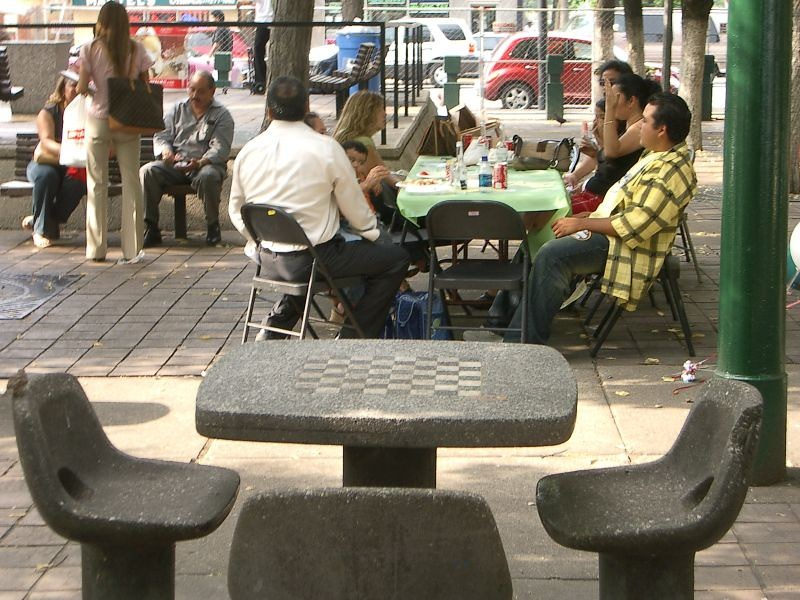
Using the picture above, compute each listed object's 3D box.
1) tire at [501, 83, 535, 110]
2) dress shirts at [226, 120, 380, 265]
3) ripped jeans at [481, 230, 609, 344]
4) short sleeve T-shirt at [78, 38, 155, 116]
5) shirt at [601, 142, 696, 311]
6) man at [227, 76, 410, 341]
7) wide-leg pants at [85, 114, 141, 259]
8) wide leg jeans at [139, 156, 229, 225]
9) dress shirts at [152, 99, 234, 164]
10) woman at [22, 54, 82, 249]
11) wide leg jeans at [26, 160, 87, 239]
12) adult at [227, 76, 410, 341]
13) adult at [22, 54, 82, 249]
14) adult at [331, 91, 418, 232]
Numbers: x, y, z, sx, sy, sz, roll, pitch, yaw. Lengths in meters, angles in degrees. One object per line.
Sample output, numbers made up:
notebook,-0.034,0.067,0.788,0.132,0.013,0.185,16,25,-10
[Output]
tire,3.157,-5.456,22.861,0.807,0.757,0.284,-3,7,3
dress shirts,-0.632,-0.764,5.592,0.981,0.795,0.440,-2,15,-8
ripped jeans,1.051,-0.140,6.010,0.841,0.940,0.643,3,12,-6
short sleeve T-shirt,-2.775,-2.136,8.288,0.782,0.786,0.485,-3,11,-18
shirt,1.656,-0.501,5.768,0.616,1.074,0.487,4,15,13
man,-0.514,-0.573,6.071,1.299,1.840,1.217,-2,14,-6
wide-leg pants,-2.917,-1.233,8.656,0.564,1.647,0.366,-4,-11,-16
wide leg jeans,-2.360,-1.251,9.184,0.934,0.607,0.643,1,6,-1
dress shirts,-2.244,-1.841,9.510,0.822,0.706,0.754,4,11,5
woman,-3.732,-1.498,9.221,0.588,1.811,0.525,-8,17,-26
wide leg jeans,-3.774,-1.146,9.408,0.719,0.871,0.662,4,-1,-9
adult,-0.545,-0.569,6.046,1.269,1.794,1.183,3,16,12
adult,-3.733,-1.499,9.223,0.588,1.811,0.493,-7,17,-25
adult,-0.283,-1.193,7.228,0.737,1.131,0.474,-7,36,-10
